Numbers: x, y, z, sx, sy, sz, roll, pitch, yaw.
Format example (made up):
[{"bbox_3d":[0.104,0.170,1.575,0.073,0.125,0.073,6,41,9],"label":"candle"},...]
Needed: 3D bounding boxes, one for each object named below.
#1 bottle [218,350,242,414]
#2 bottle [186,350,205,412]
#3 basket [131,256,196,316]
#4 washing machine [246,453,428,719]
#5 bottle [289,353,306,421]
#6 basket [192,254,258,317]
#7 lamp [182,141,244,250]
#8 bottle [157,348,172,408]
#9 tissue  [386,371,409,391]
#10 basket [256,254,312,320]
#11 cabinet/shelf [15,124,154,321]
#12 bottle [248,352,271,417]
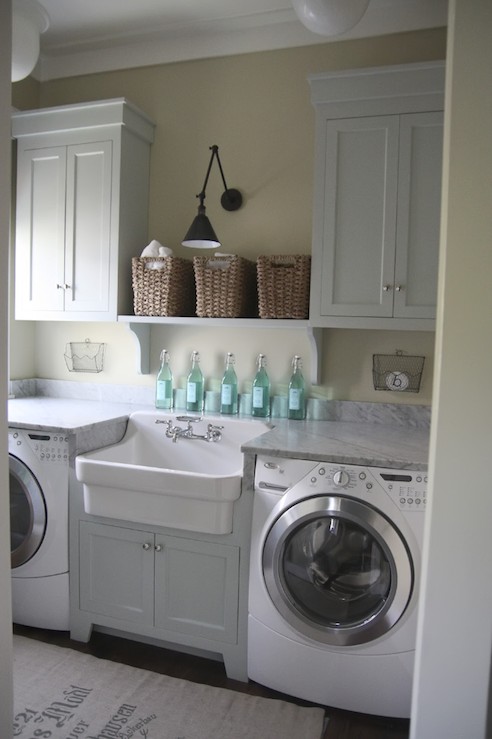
[{"bbox_3d":[-0.071,0.058,2.532,0.079,0.253,0.190,1,4,-2],"label":"bottle"},{"bbox_3d":[-0.219,0.052,2.552,0.068,0.256,0.090,0,4,-7],"label":"bottle"},{"bbox_3d":[-0.344,-0.348,2.563,0.200,0.210,0.290,3,6,22],"label":"basket"},{"bbox_3d":[0.273,0.629,2.097,0.678,1.006,0.668,1,0,19],"label":"washing machine"},{"bbox_3d":[0.208,0.075,2.434,0.074,0.252,0.133,1,4,4],"label":"bottle"},{"bbox_3d":[-0.077,-0.336,2.417,0.258,0.263,0.232,1,4,-1],"label":"basket"},{"bbox_3d":[-0.164,-0.733,2.445,0.265,0.479,0.446,1,4,8],"label":"lamp"},{"bbox_3d":[-0.360,0.043,2.614,0.069,0.255,0.072,1,4,0],"label":"bottle"},{"bbox_3d":[0.595,0.046,2.354,0.074,0.075,0.018,4,-2,34],"label":"tissue "},{"bbox_3d":[0.142,-0.304,2.245,0.222,0.274,0.231,2,5,18],"label":"basket"},{"bbox_3d":[-0.764,-0.629,2.658,0.588,0.814,0.257,1,4,9],"label":"cabinet/shelf"},{"bbox_3d":[0.062,0.066,2.485,0.083,0.252,0.143,1,4,2],"label":"bottle"}]
